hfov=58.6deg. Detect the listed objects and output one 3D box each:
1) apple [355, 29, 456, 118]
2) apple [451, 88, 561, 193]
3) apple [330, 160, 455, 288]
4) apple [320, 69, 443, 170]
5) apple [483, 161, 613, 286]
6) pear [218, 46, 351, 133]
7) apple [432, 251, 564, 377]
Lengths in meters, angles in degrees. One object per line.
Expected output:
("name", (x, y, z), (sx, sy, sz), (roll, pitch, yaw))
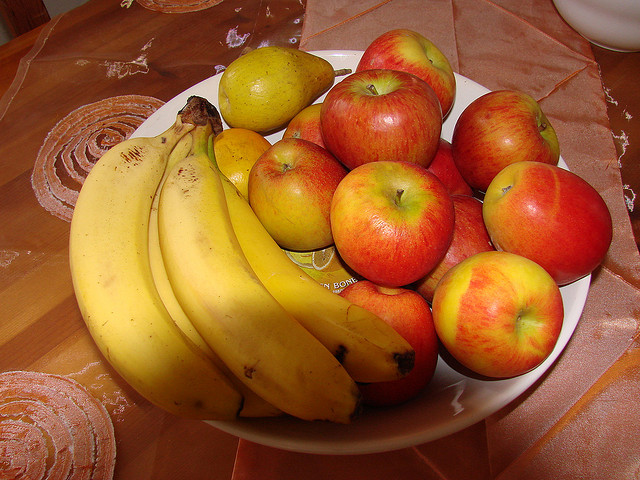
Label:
("apple", (0.238, -0.468, 1.613), (0.233, 0.234, 0.261), (-14, 88, 32))
("apple", (0.464, -0.270, 1.534), (0.253, 0.273, 0.263), (-7, 33, 7))
("apple", (0.157, -0.071, 1.408), (0.314, 0.255, 0.348), (2, 30, 2))
("apple", (0.156, -0.314, 1.502), (0.288, 0.234, 0.314), (5, 35, 5))
("apple", (0.569, -0.053, 1.384), (0.281, 0.232, 0.242), (35, 31, -18))
("pear", (-0.079, -0.451, 1.633), (0.386, 0.198, 0.206), (-18, 99, -20))
("apple", (0.385, 0.157, 1.254), (0.275, 0.125, 0.247), (18, 62, 17))
